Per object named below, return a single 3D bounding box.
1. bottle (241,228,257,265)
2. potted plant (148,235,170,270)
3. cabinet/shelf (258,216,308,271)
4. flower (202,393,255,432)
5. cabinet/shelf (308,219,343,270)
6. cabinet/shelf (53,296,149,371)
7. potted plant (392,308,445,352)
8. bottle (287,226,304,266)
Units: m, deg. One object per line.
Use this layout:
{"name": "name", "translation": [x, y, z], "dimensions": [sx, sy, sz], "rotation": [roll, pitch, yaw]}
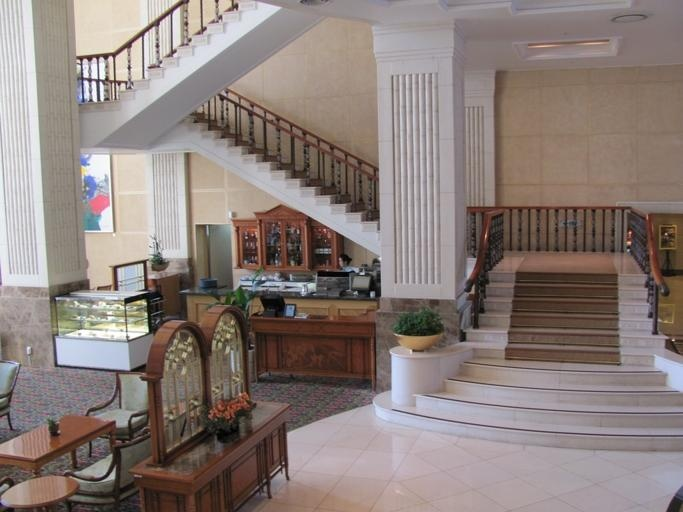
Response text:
{"name": "bottle", "translation": [-2.140, -0.204, 12.793], "dimensions": [0.418, 0.812, 0.205], "rotation": [-1, 10, 10]}
{"name": "potted plant", "translation": [-4.398, -0.069, 13.311], "dimensions": [0.422, 0.794, 0.957], "rotation": [-5, 10, -17]}
{"name": "cabinet/shelf", "translation": [-1.260, -0.310, 12.401], "dimensions": [1.265, 1.185, 0.486], "rotation": [1, 1, 18]}
{"name": "flower", "translation": [-1.130, 1.589, 5.544], "dimensions": [0.278, 0.181, 0.436], "rotation": [9, 6, 25]}
{"name": "cabinet/shelf", "translation": [-0.339, -0.243, 12.200], "dimensions": [0.698, 1.111, 0.319], "rotation": [-3, 10, -3]}
{"name": "cabinet/shelf", "translation": [-4.252, 1.386, 9.919], "dimensions": [1.356, 1.079, 0.717], "rotation": [2, 5, 17]}
{"name": "potted plant", "translation": [1.056, 0.993, 7.665], "dimensions": [0.604, 0.429, 0.622], "rotation": [-7, 8, -36]}
{"name": "bottle", "translation": [-1.040, -0.225, 12.343], "dimensions": [0.396, 0.912, 0.118], "rotation": [2, 11, 24]}
